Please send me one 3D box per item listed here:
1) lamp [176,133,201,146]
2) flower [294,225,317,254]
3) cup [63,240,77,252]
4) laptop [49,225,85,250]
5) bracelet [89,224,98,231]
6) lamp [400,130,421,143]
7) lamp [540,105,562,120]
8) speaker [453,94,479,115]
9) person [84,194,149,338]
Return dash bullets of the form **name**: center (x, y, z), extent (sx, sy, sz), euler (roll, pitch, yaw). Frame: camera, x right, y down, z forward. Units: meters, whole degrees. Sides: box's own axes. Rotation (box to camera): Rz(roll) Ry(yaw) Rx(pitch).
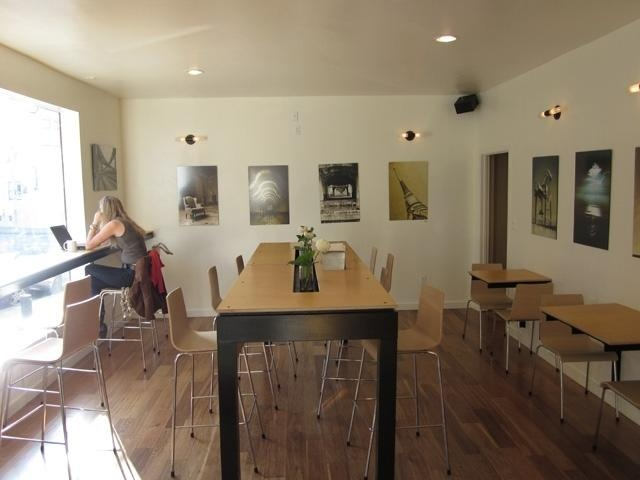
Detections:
- **lamp**: center (-1.987, -1.526, 7.256), extent (0.347, 0.147, 0.054), euler (-2, 11, -3)
- **flower**: center (-0.179, 0.004, 5.601), extent (0.294, 0.404, 0.290), euler (4, 13, 18)
- **cup**: center (-3.005, 0.075, 5.678), extent (0.144, 0.153, 0.098), euler (0, 2, -13)
- **laptop**: center (-3.129, -0.064, 5.830), extent (0.265, 0.232, 0.306), euler (9, 17, -20)
- **bracelet**: center (-2.866, -0.164, 5.942), extent (0.087, 0.075, 0.104), euler (0, -5, 4)
- **lamp**: center (1.410, -1.611, 7.282), extent (0.192, 0.169, 0.063), euler (-4, -5, 6)
- **lamp**: center (2.704, -1.521, 5.504), extent (0.138, 0.160, 0.243), euler (4, 11, -5)
- **speaker**: center (2.262, -2.045, 7.219), extent (0.411, 0.273, 0.421), euler (-1, 33, 24)
- **person**: center (-2.682, 0.317, 6.094), extent (0.824, 1.822, 0.588), euler (6, 10, -8)
